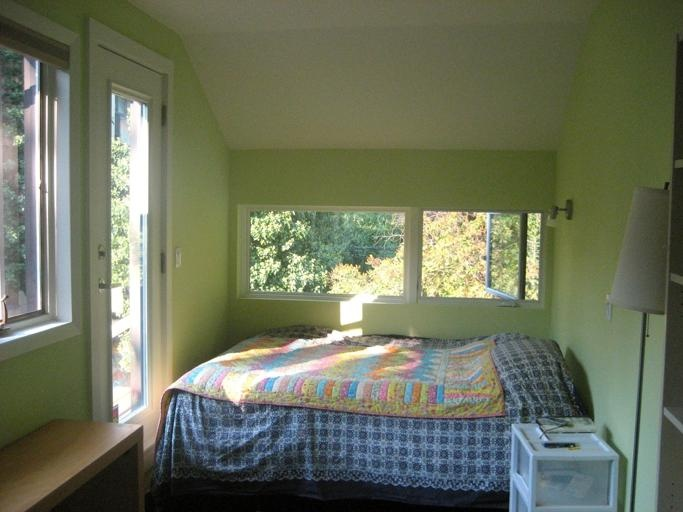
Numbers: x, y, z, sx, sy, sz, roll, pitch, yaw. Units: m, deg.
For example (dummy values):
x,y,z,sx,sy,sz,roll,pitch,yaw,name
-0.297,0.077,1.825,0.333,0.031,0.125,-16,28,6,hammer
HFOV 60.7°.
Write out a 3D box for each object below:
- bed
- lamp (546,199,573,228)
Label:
x,y,z,sx,sy,sz,roll,pitch,yaw,name
0.040,0.794,3.355,1.605,0.520,1.140,2,6,10,bed
1.511,-0.291,4.082,0.180,0.266,0.175,1,-1,-2,lamp
